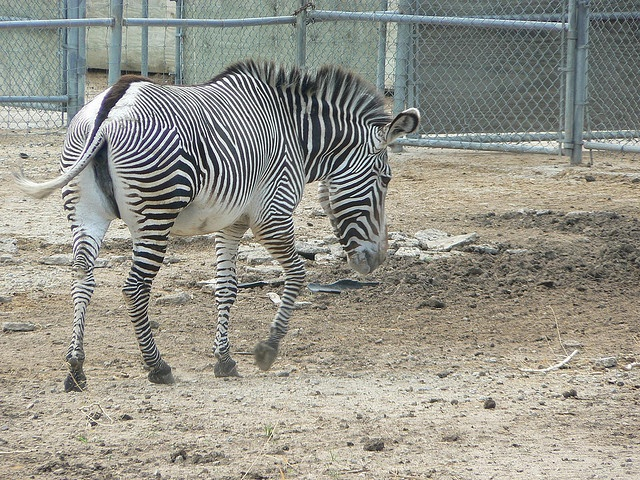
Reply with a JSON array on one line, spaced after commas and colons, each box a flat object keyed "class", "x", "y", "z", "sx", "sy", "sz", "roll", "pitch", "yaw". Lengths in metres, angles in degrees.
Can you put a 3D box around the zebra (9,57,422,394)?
[{"class": "zebra", "x": -0.769, "y": -0.199, "z": 11.149, "sx": 1.143, "sy": 2.662, "sz": 3.821, "roll": 2, "pitch": 0, "yaw": 41}]
